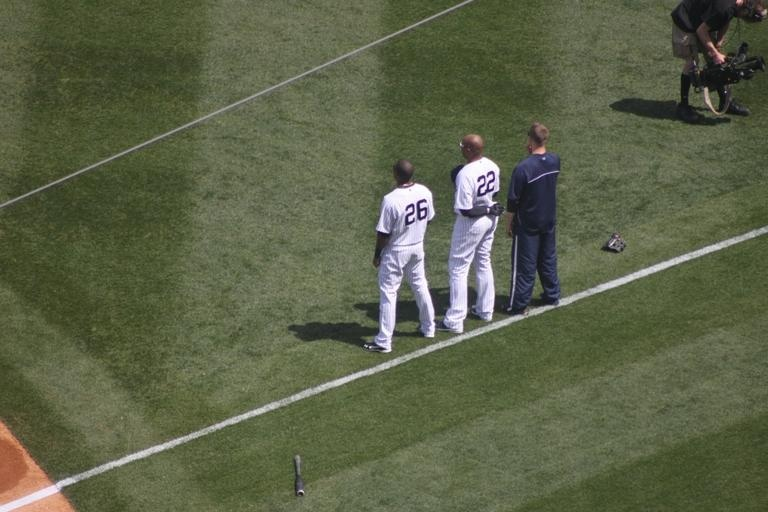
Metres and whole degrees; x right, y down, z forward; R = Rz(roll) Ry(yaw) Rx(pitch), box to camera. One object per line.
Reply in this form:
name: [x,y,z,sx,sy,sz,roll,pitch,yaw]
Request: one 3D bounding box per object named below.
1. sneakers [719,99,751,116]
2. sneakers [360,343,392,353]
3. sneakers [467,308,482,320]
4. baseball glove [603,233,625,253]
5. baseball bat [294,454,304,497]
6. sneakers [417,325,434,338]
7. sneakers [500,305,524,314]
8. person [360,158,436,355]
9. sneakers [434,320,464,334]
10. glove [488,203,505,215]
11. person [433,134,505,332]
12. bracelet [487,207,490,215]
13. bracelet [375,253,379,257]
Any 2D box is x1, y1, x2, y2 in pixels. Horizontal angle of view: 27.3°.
sneakers: [5.214,-2.169,23.222,0.596,0.225,0.182,3,35,4]
sneakers: [-0.113,1.241,20.971,0.352,0.132,0.142,8,11,13]
sneakers: [1.217,0.799,21.335,0.100,0.081,0.205,-13,23,-31]
baseball glove: [3.182,-0.153,21.796,0.290,0.269,0.093,29,-15,-3]
baseball bat: [-1.095,2.804,20.015,0.123,0.064,0.489,0,41,-8]
sneakers: [0.560,1.025,21.129,0.196,0.124,0.153,2,7,31]
sneakers: [1.737,0.732,21.324,0.309,0.117,0.110,4,14,31]
person: [0.196,0.026,20.714,0.939,2.578,0.434,-4,13,-1]
sneakers: [0.843,0.975,21.209,0.399,0.148,0.152,12,18,13]
glove: [1.472,-0.593,20.730,0.180,0.050,0.168,19,45,11]
person: [1.145,-0.270,20.893,0.881,2.664,0.415,-3,13,3]
bracelet: [1.357,-0.582,20.706,0.053,0.059,0.065,2,23,-4]
bracelet: [-0.100,-0.006,20.618,0.039,0.027,0.021,11,20,-47]
